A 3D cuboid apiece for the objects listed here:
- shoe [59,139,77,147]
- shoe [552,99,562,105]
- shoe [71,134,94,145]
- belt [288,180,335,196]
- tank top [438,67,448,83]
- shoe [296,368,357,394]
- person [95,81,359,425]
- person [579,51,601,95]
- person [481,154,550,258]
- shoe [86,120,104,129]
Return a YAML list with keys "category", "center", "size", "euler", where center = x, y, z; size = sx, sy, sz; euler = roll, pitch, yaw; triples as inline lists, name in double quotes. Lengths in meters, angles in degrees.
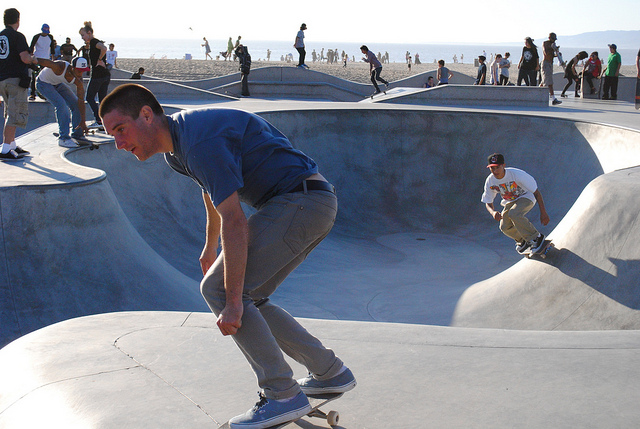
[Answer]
- category: "shoe"
  center: [-4.124, -1.174, 10.223]
  size: [0.374, 0.111, 0.169]
  euler: [4, 15, 21]
- category: "shoe"
  center: [6.431, -3.178, 17.517]
  size: [0.140, 0.168, 0.405]
  euler: [6, 21, 36]
- category: "shoe"
  center: [-3.992, -1.265, 10.474]
  size: [0.272, 0.159, 0.358]
  euler: [-11, 16, -31]
- category: "belt"
  center: [-0.090, -0.223, 5.335]
  size: [0.432, 0.147, 0.097]
  euler: [-9, 16, -28]
- category: "tank top"
  center: [3.870, -4.628, 20.654]
  size: [0.151, 0.489, 0.579]
  euler: [4, 15, 23]
- category: "shoe"
  center: [0.044, 1.476, 5.497]
  size: [0.590, 0.231, 0.201]
  euler: [-2, 13, 12]
- category: "person"
  center: [-0.659, 0.307, 5.239]
  size: [1.610, 2.776, 1.017]
  euler: [-6, 15, -15]
- category: "person"
  center: [8.433, -4.553, 20.076]
  size: [0.577, 1.348, 1.649]
  euler: [4, 15, 21]
- category: "person"
  center: [2.731, -0.135, 9.080]
  size: [0.588, 1.501, 1.102]
  euler: [-16, 20, -42]
- category: "shoe"
  center: [-4.463, -1.805, 12.308]
  size: [0.252, 0.108, 1.832]
  euler: [-7, 15, -19]
